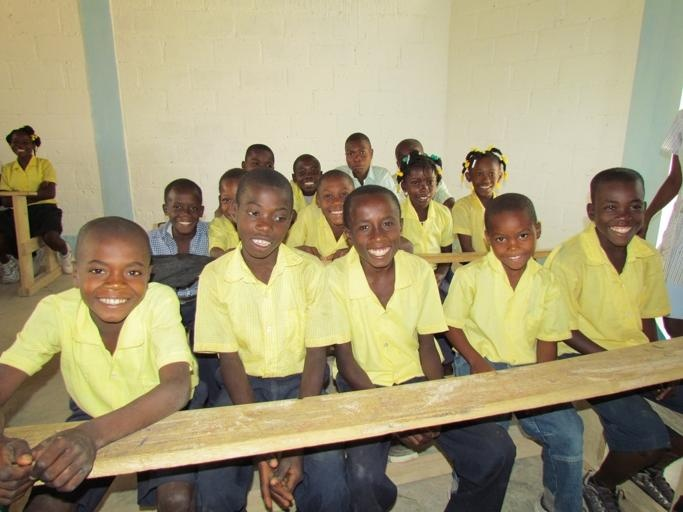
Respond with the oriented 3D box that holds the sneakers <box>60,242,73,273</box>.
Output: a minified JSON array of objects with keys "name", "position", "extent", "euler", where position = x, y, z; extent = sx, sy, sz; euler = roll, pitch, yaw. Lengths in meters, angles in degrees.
[{"name":"sneakers","position":[-2.567,0.021,5.207],"extent":[0.104,0.275,0.122],"euler":[-18,-17,-16]}]

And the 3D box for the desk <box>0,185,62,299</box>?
[{"name":"desk","position":[-2.827,-0.134,5.060],"extent":[0.309,0.749,0.884],"euler":[-9,21,-11]}]

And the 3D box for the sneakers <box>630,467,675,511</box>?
[{"name":"sneakers","position":[1.434,1.058,2.588],"extent":[0.086,0.098,0.240],"euler":[-12,26,-18]}]
